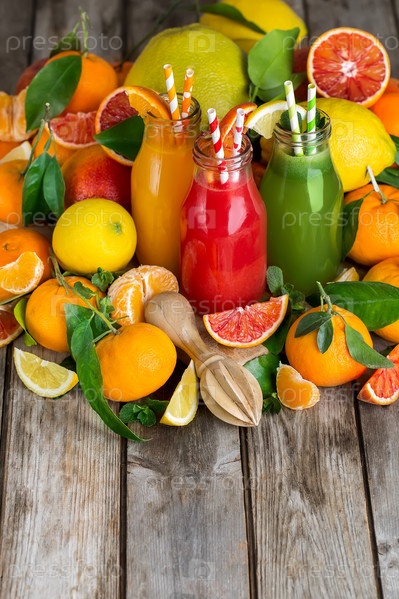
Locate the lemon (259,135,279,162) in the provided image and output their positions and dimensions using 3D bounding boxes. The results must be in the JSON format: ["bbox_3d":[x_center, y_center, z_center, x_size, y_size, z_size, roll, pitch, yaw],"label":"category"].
[{"bbox_3d":[0.104,-0.237,0.899,0.031,0.042,0.031,-7,48,-1],"label":"lemon"}]

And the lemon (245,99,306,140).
[{"bbox_3d":[0.087,-0.214,0.685,0.092,0.021,0.043,-10,94,-26],"label":"lemon"}]

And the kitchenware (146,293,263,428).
[{"bbox_3d":[0.011,0.055,0.699,0.073,0.066,0.213,-30,57,-20],"label":"kitchenware"}]

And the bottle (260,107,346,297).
[{"bbox_3d":[0.126,-0.122,0.709,0.113,0.246,0.105,-4,44,4],"label":"bottle"}]

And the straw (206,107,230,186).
[{"bbox_3d":[0.027,-0.161,0.626,0.015,0.099,0.014,13,50,32],"label":"straw"}]

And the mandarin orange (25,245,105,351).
[{"bbox_3d":[-0.157,0.001,0.680,0.079,0.104,0.078,24,45,21],"label":"mandarin orange"}]

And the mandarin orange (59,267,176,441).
[{"bbox_3d":[-0.077,0.071,0.674,0.175,0.064,0.167,-10,52,15],"label":"mandarin orange"}]

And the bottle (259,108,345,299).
[{"bbox_3d":[0.125,-0.120,0.708,0.117,0.252,0.107,-4,43,3],"label":"bottle"}]

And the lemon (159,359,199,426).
[{"bbox_3d":[-0.023,0.107,0.641,0.028,0.029,0.076,15,44,13],"label":"lemon"}]

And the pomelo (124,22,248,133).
[{"bbox_3d":[-0.002,-0.323,0.930,0.187,0.168,0.202,0,95,2],"label":"pomelo"}]

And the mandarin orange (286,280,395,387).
[{"bbox_3d":[0.144,0.050,0.714,0.138,0.156,0.110,2,51,9],"label":"mandarin orange"}]

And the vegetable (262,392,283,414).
[{"bbox_3d":[0.083,0.118,0.657,0.022,0.007,0.022,-13,95,-10],"label":"vegetable"}]

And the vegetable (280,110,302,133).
[{"bbox_3d":[0.111,-0.211,0.682,0.028,0.007,0.032,-1,73,-11],"label":"vegetable"}]

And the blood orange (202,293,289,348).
[{"bbox_3d":[0.061,0.038,0.703,0.099,0.034,0.055,-20,43,-1],"label":"blood orange"}]
